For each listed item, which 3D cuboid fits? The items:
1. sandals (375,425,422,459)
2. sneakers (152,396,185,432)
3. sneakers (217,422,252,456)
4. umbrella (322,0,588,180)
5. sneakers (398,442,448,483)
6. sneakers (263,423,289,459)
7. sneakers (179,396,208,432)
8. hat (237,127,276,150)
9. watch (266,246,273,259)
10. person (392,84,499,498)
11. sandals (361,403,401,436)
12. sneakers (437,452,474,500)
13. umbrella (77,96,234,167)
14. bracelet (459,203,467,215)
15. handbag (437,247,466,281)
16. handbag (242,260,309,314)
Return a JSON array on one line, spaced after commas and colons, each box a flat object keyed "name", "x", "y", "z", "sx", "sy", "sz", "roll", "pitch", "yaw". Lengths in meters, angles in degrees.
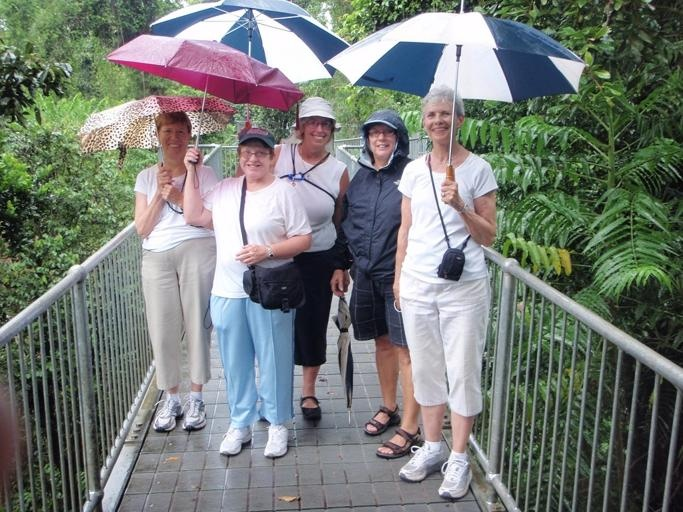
[{"name": "sandals", "x": 0.434, "y": 1.365, "z": 4.032, "sx": 0.348, "sy": 0.146, "sz": 0.150, "roll": -11, "pitch": 7, "yaw": -32}, {"name": "sneakers", "x": -1.383, "y": 1.250, "z": 4.324, "sx": 0.165, "sy": 0.179, "sz": 0.388, "roll": 5, "pitch": 8, "yaw": 0}, {"name": "sneakers", "x": -0.775, "y": 1.357, "z": 4.010, "sx": 0.123, "sy": 0.133, "sz": 0.286, "roll": 6, "pitch": 18, "yaw": 26}, {"name": "umbrella", "x": 0.891, "y": -1.398, "z": 3.774, "sx": 1.405, "sy": 1.239, "sz": 1.435, "roll": 11, "pitch": -5, "yaw": 23}, {"name": "sneakers", "x": 0.570, "y": 1.423, "z": 3.778, "sx": 0.400, "sy": 0.190, "sz": 0.145, "roll": -9, "pitch": 12, "yaw": -30}, {"name": "sneakers", "x": -0.481, "y": 1.360, "z": 3.949, "sx": 0.109, "sy": 0.135, "sz": 0.287, "roll": 1, "pitch": -6, "yaw": 2}, {"name": "sneakers", "x": -1.175, "y": 1.244, "z": 4.373, "sx": 0.180, "sy": 0.197, "sz": 0.429, "roll": 3, "pitch": 8, "yaw": -7}, {"name": "hat", "x": -0.558, "y": -0.794, "z": 3.741, "sx": 0.202, "sy": 0.153, "sz": 0.333, "roll": 4, "pitch": -1, "yaw": 0}, {"name": "watch", "x": -0.494, "y": -0.023, "z": 3.714, "sx": 0.031, "sy": 0.069, "sz": 0.051, "roll": -9, "pitch": 20, "yaw": -25}, {"name": "person", "x": 0.630, "y": 0.266, "z": 3.522, "sx": 0.665, "sy": 2.635, "sz": 0.486, "roll": 8, "pitch": 16, "yaw": 28}, {"name": "sandals", "x": 0.327, "y": 1.304, "z": 4.365, "sx": 0.351, "sy": 0.166, "sz": 0.136, "roll": -9, "pitch": 8, "yaw": -42}, {"name": "sneakers", "x": 0.740, "y": 1.455, "z": 3.561, "sx": 0.145, "sy": 0.176, "sz": 0.382, "roll": -4, "pitch": 17, "yaw": 19}, {"name": "umbrella", "x": -1.459, "y": -1.112, "z": 4.445, "sx": 1.317, "sy": 0.441, "sz": 1.272, "roll": -21, "pitch": 24, "yaw": -32}, {"name": "bracelet", "x": 0.714, "y": -0.278, "z": 3.192, "sx": 0.039, "sy": 0.053, "sz": 0.023, "roll": -2, "pitch": 29, "yaw": 4}, {"name": "handbag", "x": 0.680, "y": 0.045, "z": 3.303, "sx": 0.157, "sy": 0.203, "sz": 0.117, "roll": 12, "pitch": 23, "yaw": 4}, {"name": "handbag", "x": -0.449, "y": 0.181, "z": 3.920, "sx": 0.441, "sy": 0.264, "sz": 0.576, "roll": 1, "pitch": 13, "yaw": 0}]
